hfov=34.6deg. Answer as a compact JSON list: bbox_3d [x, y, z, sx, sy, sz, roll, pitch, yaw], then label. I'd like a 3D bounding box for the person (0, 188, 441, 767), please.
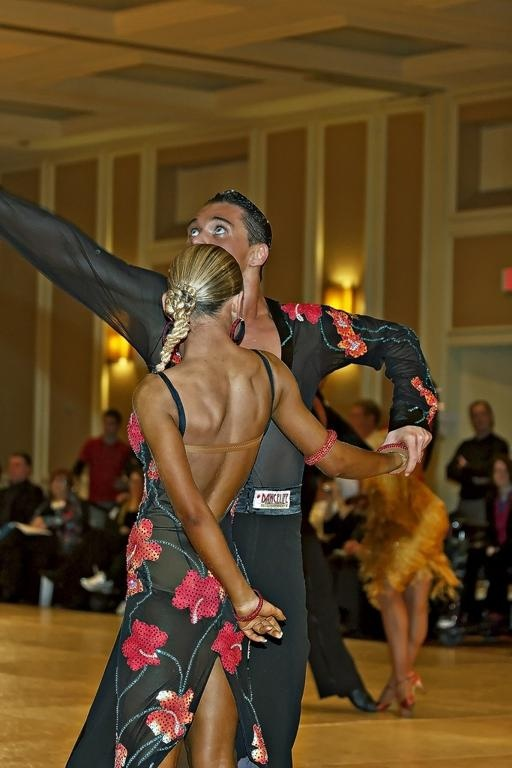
[{"bbox_3d":[-0.044,0.173,1.709,0.819,1.162,0.599,8,-10,-40],"label":"person"}]
